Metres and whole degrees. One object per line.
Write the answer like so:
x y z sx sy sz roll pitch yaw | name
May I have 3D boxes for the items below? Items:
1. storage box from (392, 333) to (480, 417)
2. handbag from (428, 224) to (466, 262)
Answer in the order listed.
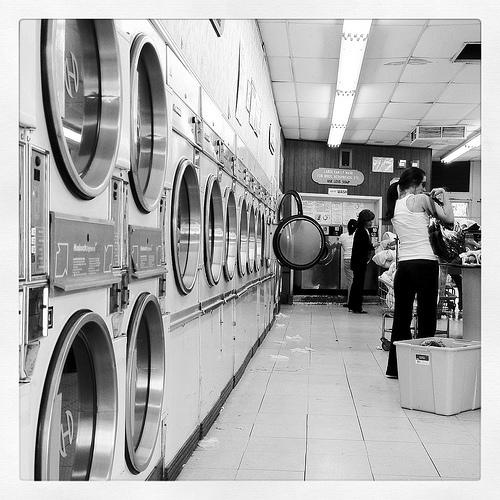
1.397 0.903 3.083 0.538 0.495 0.478 2 -4 -35 | storage box
1.820 -0.079 3.957 0.233 0.406 0.196 0 -9 -20 | handbag
